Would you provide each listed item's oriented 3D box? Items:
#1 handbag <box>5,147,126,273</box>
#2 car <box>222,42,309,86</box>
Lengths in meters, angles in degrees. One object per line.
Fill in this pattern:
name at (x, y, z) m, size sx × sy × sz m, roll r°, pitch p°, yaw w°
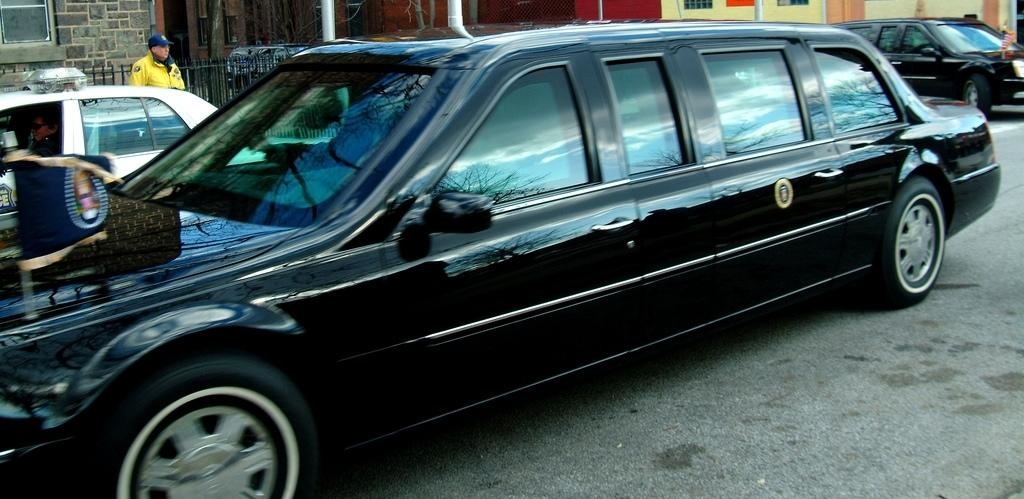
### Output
handbag at (-2.661, -0.257, 3.779) m, size 0.346 × 0.631 × 0.705 m, roll -1°, pitch 20°, yaw 17°
car at (-5.590, -4.640, 16.490) m, size 3.866 × 1.054 × 1.173 m, roll 10°, pitch 26°, yaw 35°
